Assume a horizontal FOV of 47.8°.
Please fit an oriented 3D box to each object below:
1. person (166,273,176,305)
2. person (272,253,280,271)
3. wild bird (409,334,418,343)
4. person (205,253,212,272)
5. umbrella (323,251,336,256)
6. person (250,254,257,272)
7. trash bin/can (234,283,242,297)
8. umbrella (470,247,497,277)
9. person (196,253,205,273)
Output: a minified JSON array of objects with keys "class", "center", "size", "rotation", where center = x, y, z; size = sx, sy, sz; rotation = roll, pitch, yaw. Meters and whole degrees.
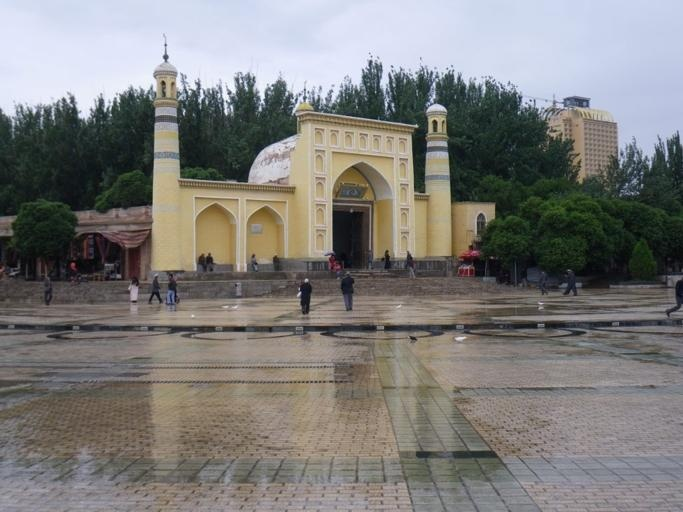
[{"class":"person","center":[-5.822,1.206,26.287],"size":[0.292,0.977,0.781],"rotation":[-1,1,-13]},{"class":"person","center":[-3.292,0.365,38.645],"size":[0.307,0.741,0.723],"rotation":[-1,1,-5]},{"class":"wild bird","center":[1.304,1.556,14.298],"size":[0.088,0.162,0.247],"rotation":[-4,-5,20]},{"class":"person","center":[-6.352,0.311,36.821],"size":[0.375,0.806,0.899],"rotation":[-1,1,-8]},{"class":"umbrella","center":[-0.540,-0.121,39.644],"size":[0.632,0.211,0.230],"rotation":[-6,-2,-30]},{"class":"person","center":[-4.335,0.338,38.096],"size":[0.302,0.797,0.950],"rotation":[-1,1,-7]},{"class":"trash bin/can","center":[-4.377,1.418,32.308],"size":[0.243,0.595,0.617],"rotation":[-1,1,2]},{"class":"umbrella","center":[8.189,0.308,43.011],"size":[1.595,1.963,1.445],"rotation":[0,-6,-12]},{"class":"person","center":[-6.715,0.315,36.728],"size":[0.378,0.809,0.809],"rotation":[-1,1,-11]}]
